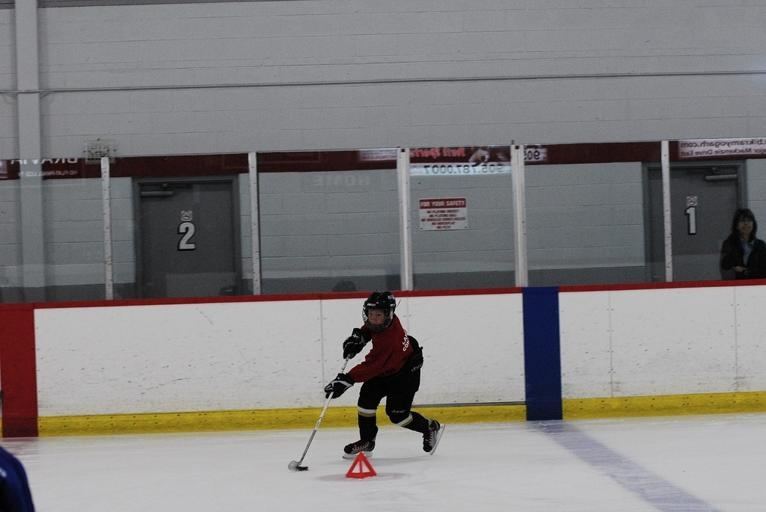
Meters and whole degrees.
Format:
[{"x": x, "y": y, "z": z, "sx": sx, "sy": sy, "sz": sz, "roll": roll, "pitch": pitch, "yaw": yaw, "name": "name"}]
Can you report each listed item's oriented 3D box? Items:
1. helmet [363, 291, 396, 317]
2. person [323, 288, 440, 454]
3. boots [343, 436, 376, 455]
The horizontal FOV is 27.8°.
[{"x": 0.004, "y": 0.411, "z": 14.644, "sx": 0.291, "sy": 0.244, "sz": 0.238, "roll": 6, "pitch": -8, "yaw": -43, "name": "helmet"}, {"x": -0.036, "y": 1.078, "z": 15.074, "sx": 1.232, "sy": 1.514, "sz": 0.718, "roll": 0, "pitch": 0, "yaw": -17, "name": "person"}, {"x": -0.234, "y": 1.827, "z": 14.844, "sx": 0.392, "sy": 0.140, "sz": 0.119, "roll": 2, "pitch": 0, "yaw": -10, "name": "boots"}]
